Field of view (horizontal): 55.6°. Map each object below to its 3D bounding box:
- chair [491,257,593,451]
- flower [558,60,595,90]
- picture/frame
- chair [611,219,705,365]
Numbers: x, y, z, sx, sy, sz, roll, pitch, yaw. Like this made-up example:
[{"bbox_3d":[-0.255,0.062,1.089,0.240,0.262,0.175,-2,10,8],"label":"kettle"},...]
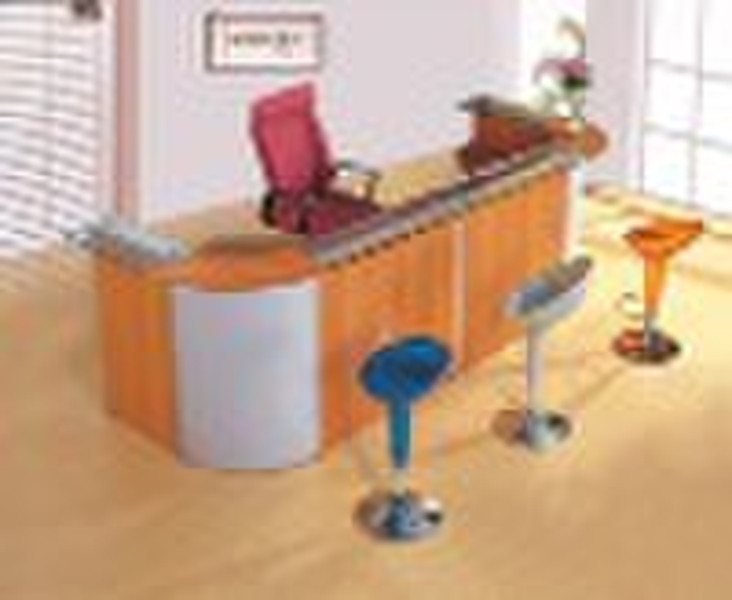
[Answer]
[{"bbox_3d":[0.907,0.259,3.640,0.421,0.921,0.669,6,30,13],"label":"chair"},{"bbox_3d":[1.350,-1.453,4.484,0.178,0.188,0.267,3,26,10],"label":"flower"},{"bbox_3d":[-0.923,-2.357,6.295,1.181,0.492,0.175,-17,34,-32],"label":"picture/frame"},{"bbox_3d":[1.800,-0.088,4.356,0.451,0.829,0.766,8,29,17],"label":"chair"}]
